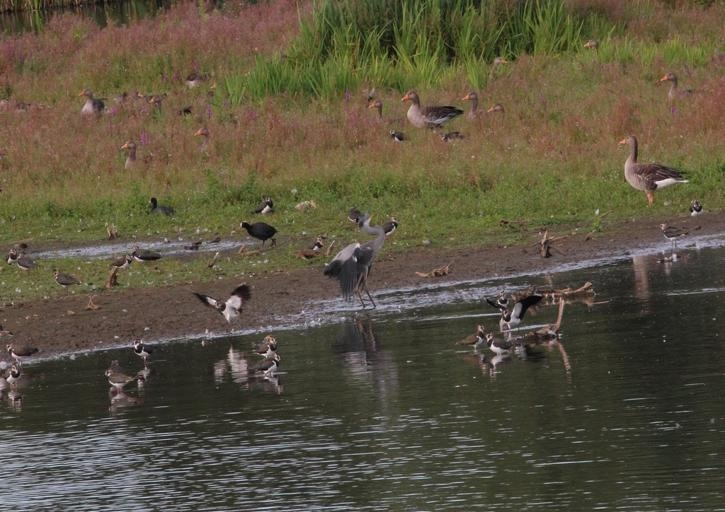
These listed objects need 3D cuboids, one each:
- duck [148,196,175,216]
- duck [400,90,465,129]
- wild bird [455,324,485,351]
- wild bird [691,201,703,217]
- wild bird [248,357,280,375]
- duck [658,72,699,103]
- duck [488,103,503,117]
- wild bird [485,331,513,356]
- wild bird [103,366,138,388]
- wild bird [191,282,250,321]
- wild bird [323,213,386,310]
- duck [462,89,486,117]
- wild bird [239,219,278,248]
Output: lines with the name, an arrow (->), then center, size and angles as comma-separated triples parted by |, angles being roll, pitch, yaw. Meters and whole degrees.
duck -> -4.268, -1.115, 30.672 | 0.528, 0.406, 0.479 | -6, 10, -1
duck -> 1.681, -3.520, 33.943 | 1.426, 1.014, 0.751 | -4, 20, -8
wild bird -> 1.689, 1.206, 21.672 | 0.532, 0.393, 0.228 | -8, 1, 15
wild bird -> 6.420, -0.964, 27.770 | 0.185, 0.221, 0.339 | 2, -3, 14
wild bird -> -1.442, 1.600, 21.162 | 0.432, 0.259, 0.332 | -7, 10, -6
duck -> 7.470, -4.155, 34.305 | 0.679, 0.681, 1.927 | -5, 10, 7
duck -> 3.121, -3.536, 33.835 | 0.323, 0.210, 0.597 | -7, 10, -6
wild bird -> 2.055, 1.314, 21.637 | 0.413, 0.396, 0.219 | -3, 8, 20
wild bird -> -3.490, 1.798, 20.753 | 0.368, 0.201, 0.586 | -21, 6, -36
wild bird -> -2.261, 0.725, 23.656 | 0.839, 0.615, 0.894 | -8, 10, -8
wild bird -> -0.070, 0.070, 23.832 | 0.869, 1.458, 1.128 | 1, 5, 6
duck -> 2.658, -3.723, 34.619 | 0.457, 0.583, 1.130 | -6, 10, 0
wild bird -> -2.039, -0.537, 27.704 | 0.731, 0.498, 0.382 | 5, 33, 24
